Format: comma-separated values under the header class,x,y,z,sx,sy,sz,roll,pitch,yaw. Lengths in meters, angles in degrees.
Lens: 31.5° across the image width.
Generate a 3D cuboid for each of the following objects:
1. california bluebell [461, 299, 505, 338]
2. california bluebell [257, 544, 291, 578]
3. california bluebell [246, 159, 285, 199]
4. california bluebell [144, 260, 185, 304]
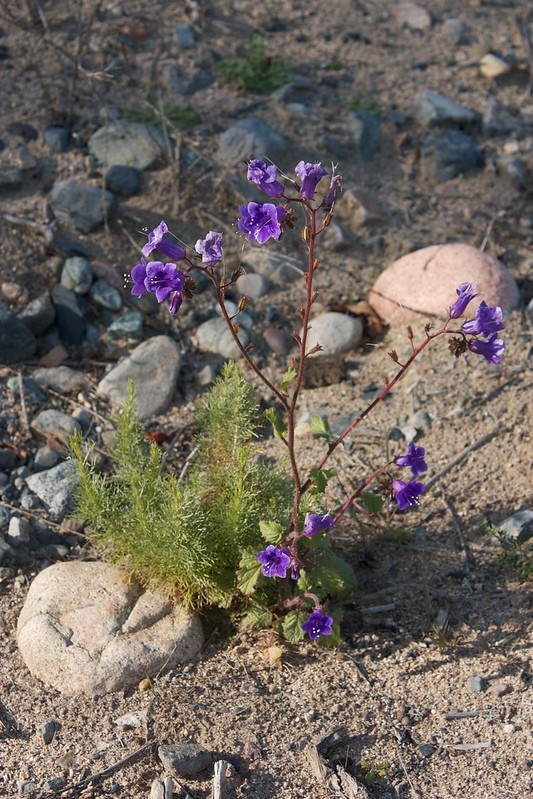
class,x,y,z,sx,sy,sz,roll,pitch,yaw
california bluebell,0.879,-0.345,3.903,0.159,0.140,0.057,-16,33,6
california bluebell,0.028,0.698,4.071,0.142,0.158,0.125,1,37,0
california bluebell,0.003,-0.895,3.824,0.149,0.170,0.193,10,37,12
california bluebell,-0.412,-0.482,3.777,0.166,0.136,0.175,-25,43,-31
